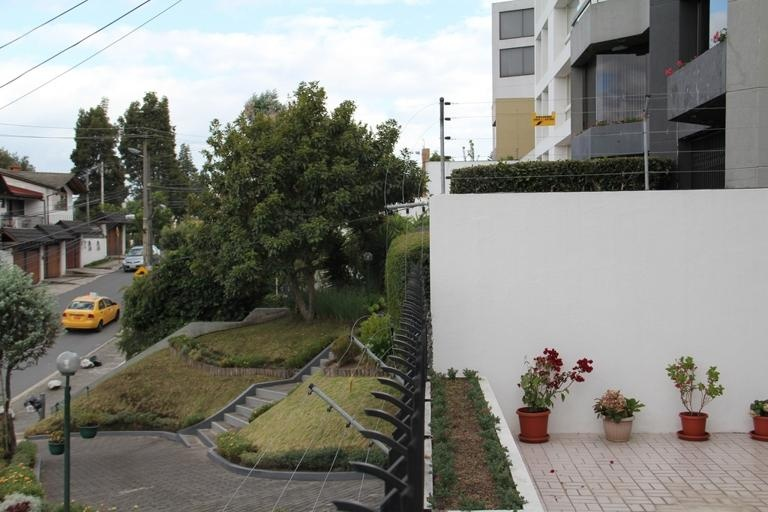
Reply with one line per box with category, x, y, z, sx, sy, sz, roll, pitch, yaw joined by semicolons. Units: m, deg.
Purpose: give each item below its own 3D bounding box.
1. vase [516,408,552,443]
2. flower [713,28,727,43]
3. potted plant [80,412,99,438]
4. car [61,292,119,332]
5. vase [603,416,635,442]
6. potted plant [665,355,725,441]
vase;3.404;3.873;14.816;0.743;0.726;0.794;-2;0;25
flower;8.543;-5.552;16.480;0.232;0.426;0.672;1;4;23
potted plant;-9.493;5.539;21.208;0.639;0.860;0.674;1;-2;35
car;-14.890;2.891;33.097;1.574;1.767;2.407;0;3;14
vase;5.210;3.881;14.423;0.503;0.422;0.546;1;-12;-2
potted plant;7.008;3.191;14.557;1.530;2.326;1.037;0;3;20
